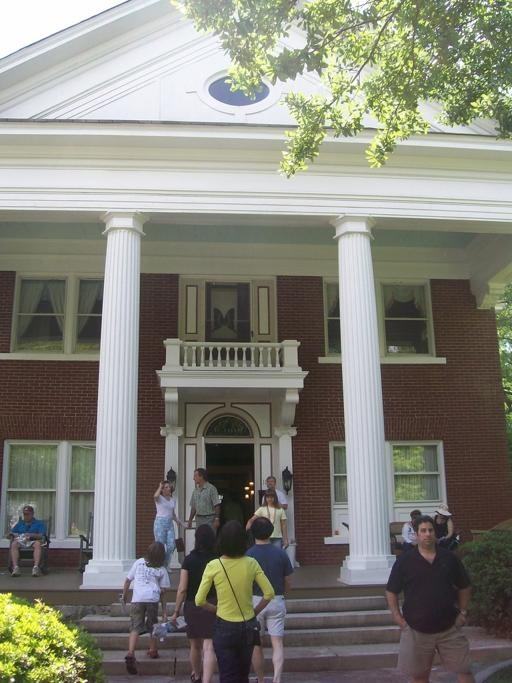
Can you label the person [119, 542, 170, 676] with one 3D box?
[{"bbox_3d":[-1.177,2.884,6.792,0.505,1.345,1.269,3,-17,-11],"label":"person"}]
